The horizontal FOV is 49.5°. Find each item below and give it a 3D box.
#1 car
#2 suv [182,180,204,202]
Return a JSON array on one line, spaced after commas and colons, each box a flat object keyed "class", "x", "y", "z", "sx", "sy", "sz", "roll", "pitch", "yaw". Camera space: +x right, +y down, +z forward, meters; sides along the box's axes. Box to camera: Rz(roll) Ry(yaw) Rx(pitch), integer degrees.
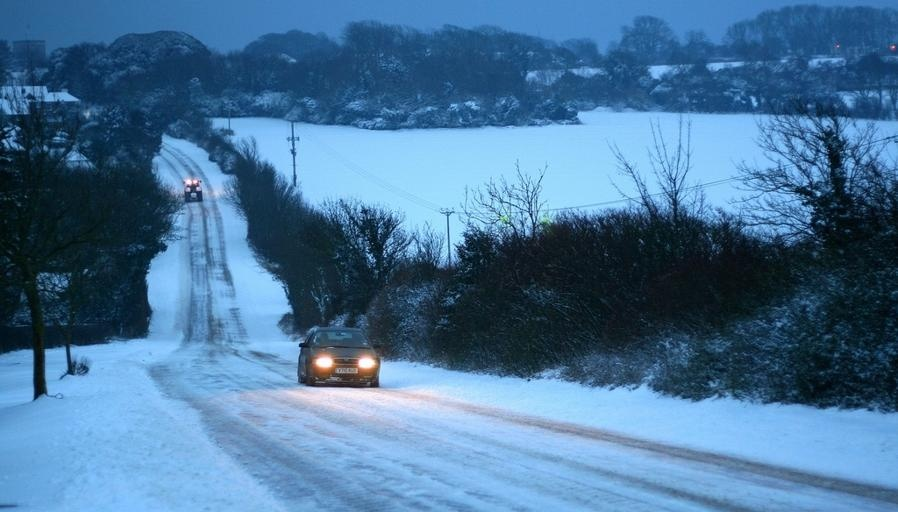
[{"class": "car", "x": -5.799, "y": 5.494, "z": 52.117, "sx": 3.882, "sy": 2.994, "sz": 1.769, "roll": -2, "pitch": -2, "yaw": 7}, {"class": "suv", "x": -32.889, "y": -8.463, "z": 125.251, "sx": 2.098, "sy": 2.980, "sz": 2.600, "roll": -1, "pitch": -2, "yaw": -12}]
